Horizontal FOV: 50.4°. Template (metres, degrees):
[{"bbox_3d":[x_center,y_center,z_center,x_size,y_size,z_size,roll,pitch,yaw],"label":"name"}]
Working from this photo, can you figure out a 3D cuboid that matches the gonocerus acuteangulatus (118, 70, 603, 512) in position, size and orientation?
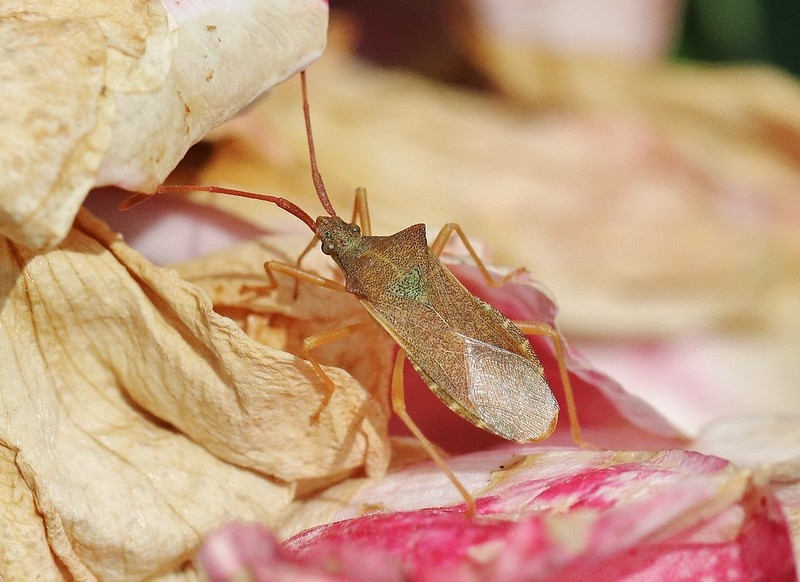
[{"bbox_3d":[-0.004,0.065,2.237,0.646,0.591,1.229,-25,59,-16],"label":"gonocerus acuteangulatus"}]
